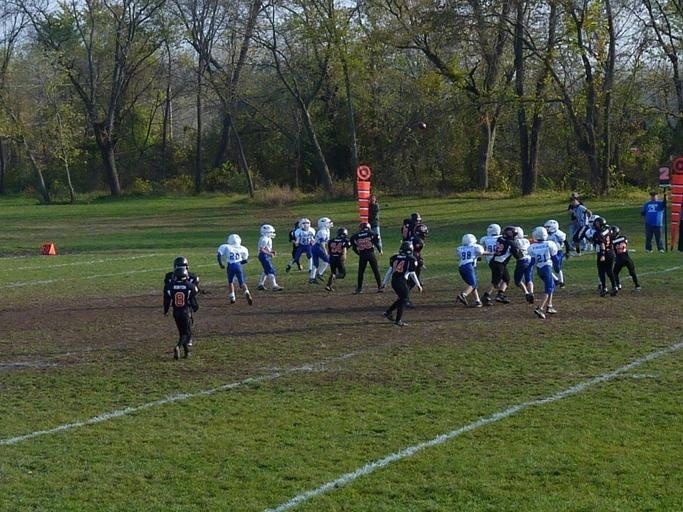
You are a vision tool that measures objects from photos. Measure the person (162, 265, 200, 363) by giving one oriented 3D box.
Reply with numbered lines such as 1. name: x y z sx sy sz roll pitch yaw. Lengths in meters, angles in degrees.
1. person: -4.856 1.530 34.215 1.034 3.076 0.644 -7 9 -28

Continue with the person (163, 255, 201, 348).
1. person: -4.907 1.462 34.413 1.109 2.847 1.094 -2 10 -13

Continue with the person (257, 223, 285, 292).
1. person: -2.593 0.028 41.078 1.023 2.526 0.828 -2 10 -14

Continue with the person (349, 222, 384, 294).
1. person: 0.957 0.004 40.732 1.082 2.519 1.164 0 1 -13

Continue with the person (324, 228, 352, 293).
1. person: -0.192 0.047 41.056 0.889 2.126 1.148 0 1 32
